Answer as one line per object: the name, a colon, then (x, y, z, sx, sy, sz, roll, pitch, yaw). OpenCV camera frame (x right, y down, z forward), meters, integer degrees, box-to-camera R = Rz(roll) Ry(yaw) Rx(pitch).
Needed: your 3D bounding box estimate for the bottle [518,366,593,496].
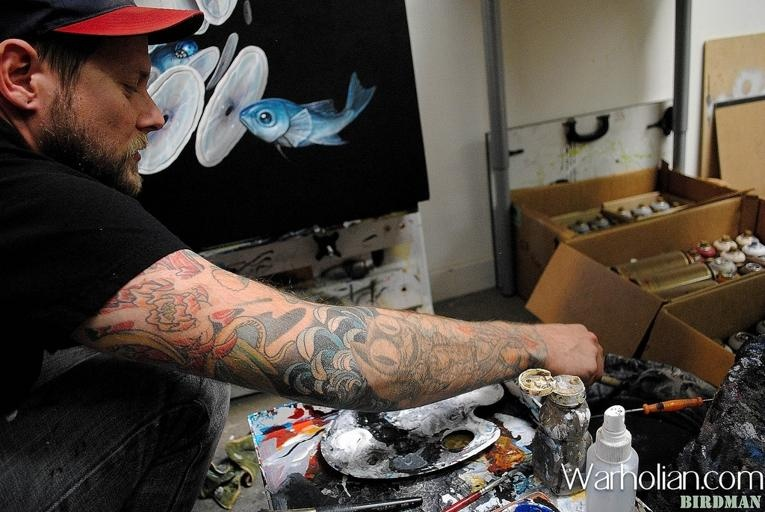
bottle: (0.405, 0.412, 1.311, 0.178, 0.248, 0.143, 7, 15, 23)
